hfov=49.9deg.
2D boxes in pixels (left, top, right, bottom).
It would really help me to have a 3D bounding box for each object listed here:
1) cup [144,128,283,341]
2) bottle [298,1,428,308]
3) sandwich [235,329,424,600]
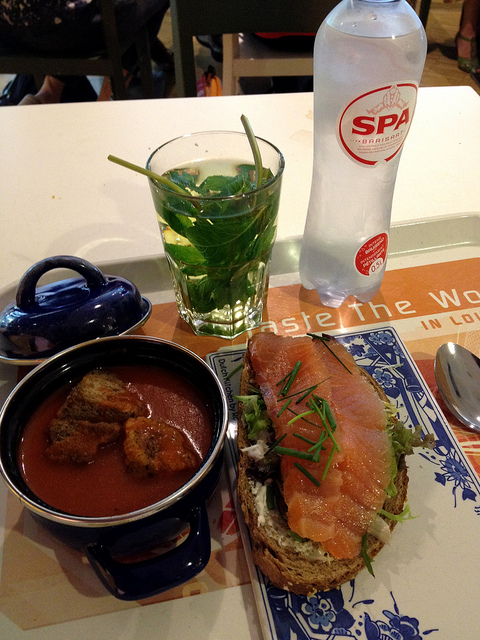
[{"bbox_3d":[-0.034,-0.111,0.873,0.172,0.256,0.174,5,28,-3],"label":"cup"},{"bbox_3d":[0.184,-0.239,0.921,0.188,0.550,0.185,3,33,-2],"label":"bottle"},{"bbox_3d":[0.102,0.169,0.663,0.209,0.094,0.321,-2,47,-7],"label":"sandwich"}]
